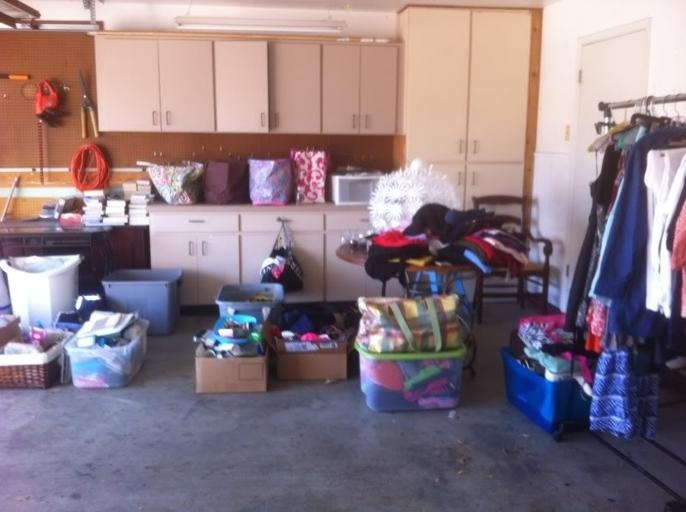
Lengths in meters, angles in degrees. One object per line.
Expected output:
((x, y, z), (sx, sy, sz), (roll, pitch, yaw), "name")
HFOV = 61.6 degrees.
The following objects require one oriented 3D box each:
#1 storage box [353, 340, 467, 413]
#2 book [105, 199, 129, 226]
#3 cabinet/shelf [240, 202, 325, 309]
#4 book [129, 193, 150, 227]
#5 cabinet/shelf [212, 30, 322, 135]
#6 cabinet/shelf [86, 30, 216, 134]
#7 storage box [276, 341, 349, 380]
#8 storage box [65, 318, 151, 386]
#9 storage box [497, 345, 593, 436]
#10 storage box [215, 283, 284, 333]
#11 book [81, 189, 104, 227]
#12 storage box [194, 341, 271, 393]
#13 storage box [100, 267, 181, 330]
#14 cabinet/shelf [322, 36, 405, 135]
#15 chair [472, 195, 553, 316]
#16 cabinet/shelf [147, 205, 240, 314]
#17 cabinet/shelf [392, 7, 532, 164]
((0.442, 0.807, 3.779), (0.579, 0.320, 0.469), (-1, 5, -3), "storage box")
((-2.155, -0.415, 5.439), (0.223, 0.240, 0.164), (-6, 11, -23), "book")
((-0.587, -0.127, 5.743), (0.823, 0.964, 0.517), (-2, 27, -5), "cabinet/shelf")
((-1.925, -0.438, 5.600), (0.221, 0.355, 0.376), (-1, 8, -8), "book")
((-0.761, -1.706, 5.497), (0.872, 0.793, 0.320), (0, 15, -3), "cabinet/shelf")
((-1.691, -1.647, 5.597), (1.120, 0.871, 0.422), (3, 11, 9), "cabinet/shelf")
((-0.201, 0.780, 4.526), (0.690, 0.279, 0.708), (-1, -1, -14), "storage box")
((-1.851, 0.761, 4.325), (0.401, 0.276, 0.643), (2, 7, -24), "storage box")
((1.275, 0.861, 3.738), (0.356, 0.292, 0.490), (-3, 11, -17), "storage box")
((-0.816, 0.413, 4.826), (0.563, 0.261, 0.632), (0, 12, -7), "storage box")
((-2.380, -0.469, 5.487), (0.237, 0.324, 0.107), (-2, -10, -3), "book")
((-0.794, 0.814, 4.113), (0.361, 0.174, 0.365), (1, 9, -1), "storage box")
((-1.767, 0.350, 5.132), (0.625, 0.460, 0.515), (2, 4, -5), "storage box")
((0.171, -1.700, 5.629), (0.878, 0.926, 0.443), (-1, 8, -3), "cabinet/shelf")
((1.549, -0.012, 5.570), (0.776, 1.130, 0.777), (-4, 9, -17), "chair")
((-1.434, 0.060, 5.616), (0.823, 0.979, 0.534), (-1, -6, -15), "cabinet/shelf")
((1.135, -1.706, 5.578), (1.375, 2.073, 0.726), (0, 8, -4), "cabinet/shelf")
